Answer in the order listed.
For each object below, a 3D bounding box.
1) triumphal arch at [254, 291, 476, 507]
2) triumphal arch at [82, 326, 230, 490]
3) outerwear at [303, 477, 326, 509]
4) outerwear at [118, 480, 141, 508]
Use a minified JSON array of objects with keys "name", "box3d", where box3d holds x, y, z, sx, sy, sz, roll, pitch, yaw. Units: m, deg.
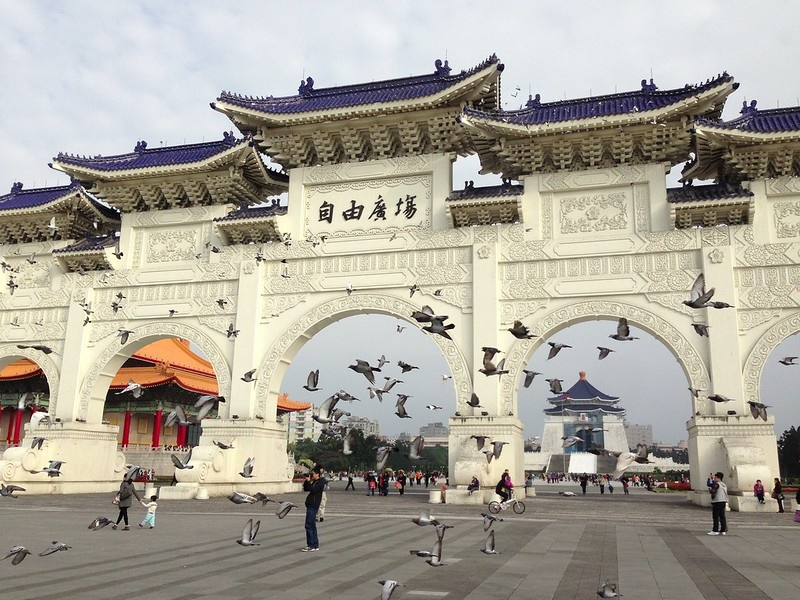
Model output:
[{"name":"triumphal arch","box3d":[-1.272,3.383,25.912,7.631,4.528,12.680,2,-9,15]},{"name":"triumphal arch","box3d":[-11.073,4.148,35.092,4.907,4.245,5.029,0,-4,-27]},{"name":"outerwear","box3d":[-1.559,3.473,15.170,0.356,0.558,0.427,-1,-15,10]},{"name":"outerwear","box3d":[-5.613,3.993,17.298,0.334,0.544,0.586,7,-15,-19]}]
